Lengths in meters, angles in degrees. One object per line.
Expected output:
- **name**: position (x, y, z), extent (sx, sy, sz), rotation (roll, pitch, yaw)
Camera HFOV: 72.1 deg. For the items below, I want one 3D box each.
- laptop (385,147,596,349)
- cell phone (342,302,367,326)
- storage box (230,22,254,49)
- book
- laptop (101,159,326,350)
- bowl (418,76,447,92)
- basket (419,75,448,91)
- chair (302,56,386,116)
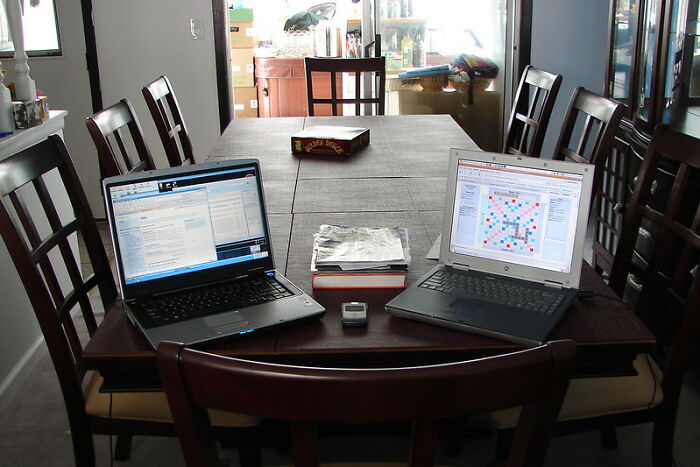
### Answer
- **laptop**: position (0.448, 0.005, 1.468), extent (0.529, 0.547, 0.420), rotation (14, 5, 26)
- **cell phone**: position (0.013, 0.206, 1.260), extent (0.045, 0.019, 0.062), rotation (-1, 22, -2)
- **storage box**: position (-1.021, -1.881, 4.597), extent (0.190, 0.110, 0.182), rotation (1, 26, -2)
- **book**: position (0.030, 0.068, 1.419), extent (0.221, 0.063, 0.203), rotation (0, 25, 0)
- **laptop**: position (-0.423, 0.027, 1.430), extent (0.590, 0.495, 0.421), rotation (-11, 13, -25)
- **bowl**: position (0.767, -1.359, 4.372), extent (0.166, 0.101, 0.152), rotation (-1, 27, 1)
- **basket**: position (0.762, -1.362, 4.372), extent (0.168, 0.103, 0.156), rotation (-6, 27, -9)
- **chair**: position (-0.014, -1.099, 3.654), extent (0.560, 0.501, 1.124), rotation (-1, 25, 3)
